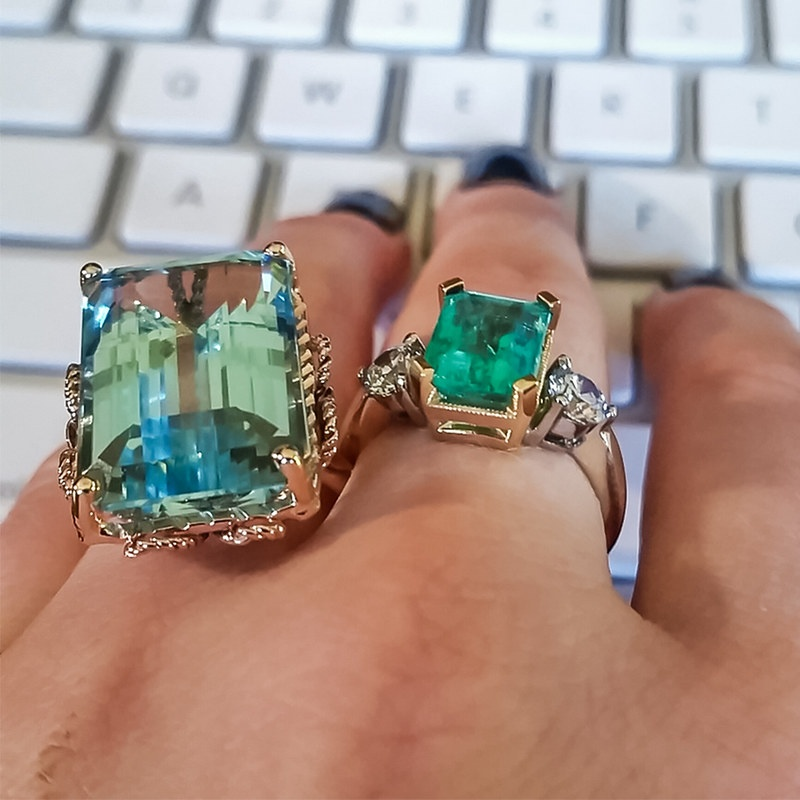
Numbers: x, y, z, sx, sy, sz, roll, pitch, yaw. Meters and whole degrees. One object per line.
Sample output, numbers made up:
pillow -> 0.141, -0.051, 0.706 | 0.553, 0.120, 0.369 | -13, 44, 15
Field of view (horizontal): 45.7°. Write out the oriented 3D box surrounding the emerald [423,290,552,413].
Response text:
emerald -> 0.068, -0.042, 0.738 | 0.092, 0.025, 0.098 | 11, 65, 6

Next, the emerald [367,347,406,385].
emerald -> -0.011, -0.027, 0.741 | 0.024, 0.009, 0.030 | 18, 69, 30

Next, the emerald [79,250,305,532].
emerald -> -0.144, -0.008, 0.657 | 0.154, 0.051, 0.182 | -6, 65, -2

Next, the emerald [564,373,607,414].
emerald -> 0.147, -0.003, 0.736 | 0.036, 0.021, 0.020 | 17, 65, 9
